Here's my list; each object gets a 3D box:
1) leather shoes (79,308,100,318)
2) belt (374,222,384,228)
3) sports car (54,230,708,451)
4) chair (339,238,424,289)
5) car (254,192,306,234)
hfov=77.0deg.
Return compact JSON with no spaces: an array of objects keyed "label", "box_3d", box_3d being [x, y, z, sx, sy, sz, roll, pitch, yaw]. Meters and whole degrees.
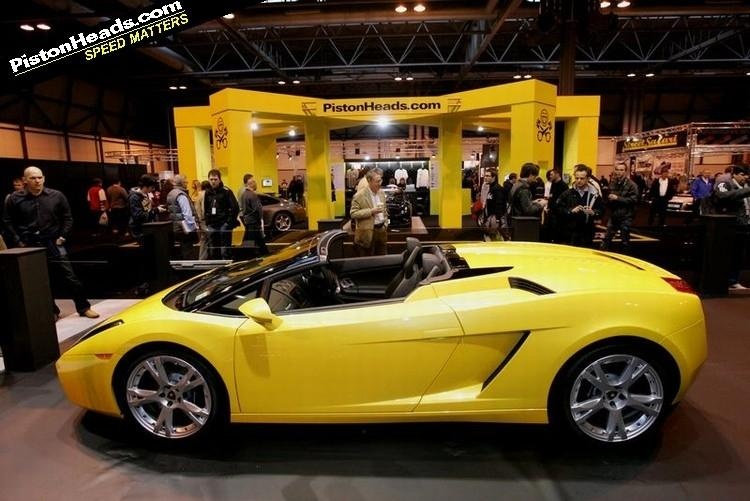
[{"label":"leather shoes","box_3d":[-4.155,0.920,6.864,0.305,0.128,0.131,1,14,11]},{"label":"belt","box_3d":[0.079,-0.417,7.895,0.098,0.040,0.095,12,-26,-42]},{"label":"sports car","box_3d":[0.300,0.847,4.724,4.766,1.374,2.675,1,0,3]},{"label":"chair","box_3d":[0.095,0.200,4.945,0.825,0.509,0.496,3,17,10]},{"label":"car","box_3d":[-3.565,-1.196,15.464,2.591,0.959,1.430,-1,3,-9]}]
